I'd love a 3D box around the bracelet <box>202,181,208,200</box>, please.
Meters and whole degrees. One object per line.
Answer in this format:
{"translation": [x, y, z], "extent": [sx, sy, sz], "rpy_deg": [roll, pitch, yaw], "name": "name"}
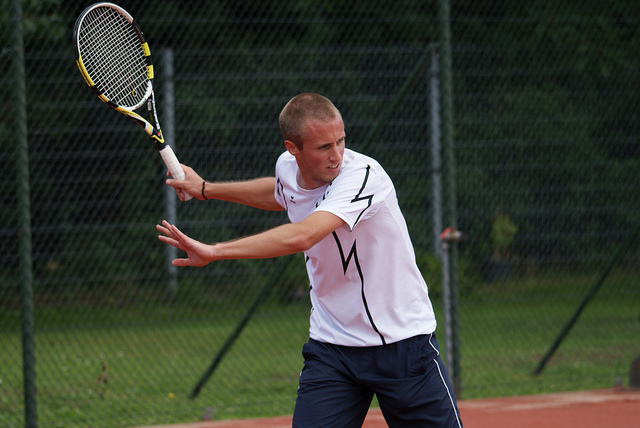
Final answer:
{"translation": [-0.948, -0.204, 8.301], "extent": [0.029, 0.125, 0.063], "rpy_deg": [-4, -10, -7], "name": "bracelet"}
